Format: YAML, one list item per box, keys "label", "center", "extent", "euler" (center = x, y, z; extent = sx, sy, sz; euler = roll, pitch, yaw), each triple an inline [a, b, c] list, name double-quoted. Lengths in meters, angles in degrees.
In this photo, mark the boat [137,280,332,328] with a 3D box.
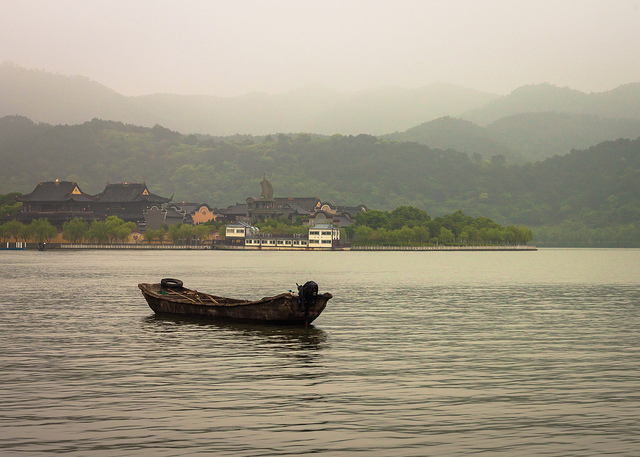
- label: "boat"
  center: [-5.786, 4.724, 65.315]
  extent: [15.354, 2.692, 3.545]
  euler: [0, -1, 43]
